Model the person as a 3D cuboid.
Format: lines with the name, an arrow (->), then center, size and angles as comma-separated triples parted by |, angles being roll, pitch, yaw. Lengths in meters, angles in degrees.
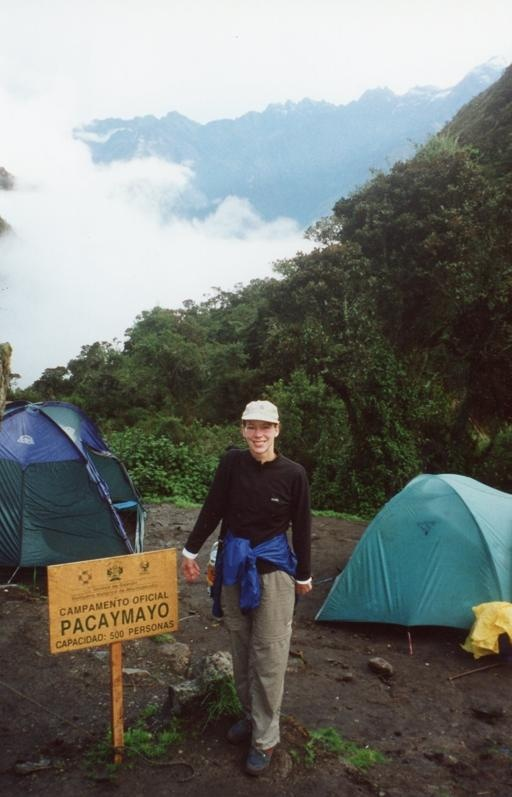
person -> -0.041, 0.962, 3.604 | 0.656, 1.453, 0.354 | 3, -2, 5

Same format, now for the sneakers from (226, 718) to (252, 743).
sneakers -> -0.100, 1.843, 3.706 | 0.067, 0.090, 0.126 | 15, -17, 42
